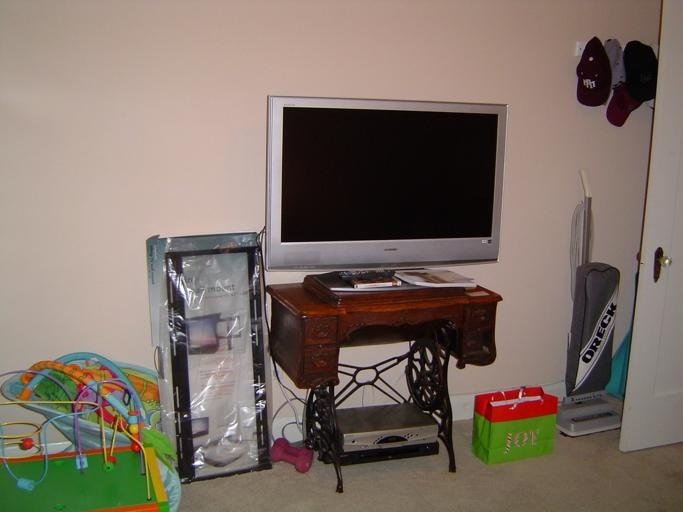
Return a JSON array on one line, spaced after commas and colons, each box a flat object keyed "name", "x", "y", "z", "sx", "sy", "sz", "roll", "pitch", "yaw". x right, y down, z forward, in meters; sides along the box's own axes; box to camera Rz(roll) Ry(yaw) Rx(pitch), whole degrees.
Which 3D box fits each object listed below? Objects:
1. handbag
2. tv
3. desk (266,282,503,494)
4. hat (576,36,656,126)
[{"name": "handbag", "x": 0.998, "y": 0.987, "z": 3.299, "sx": 0.338, "sy": 0.303, "sz": 0.146, "roll": -4, "pitch": 17, "yaw": -15}, {"name": "tv", "x": 0.199, "y": -0.364, "z": 3.152, "sx": 1.021, "sy": 0.801, "sz": 0.075, "roll": -1, "pitch": 7, "yaw": -15}, {"name": "desk", "x": 0.233, "y": 0.697, "z": 3.287, "sx": 1.148, "sy": 1.093, "sz": 0.596, "roll": -3, "pitch": 10, "yaw": -24}, {"name": "hat", "x": 1.760, "y": -1.142, "z": 3.704, "sx": 0.345, "sy": 0.571, "sz": 0.159, "roll": 6, "pitch": 18, "yaw": -2}]
